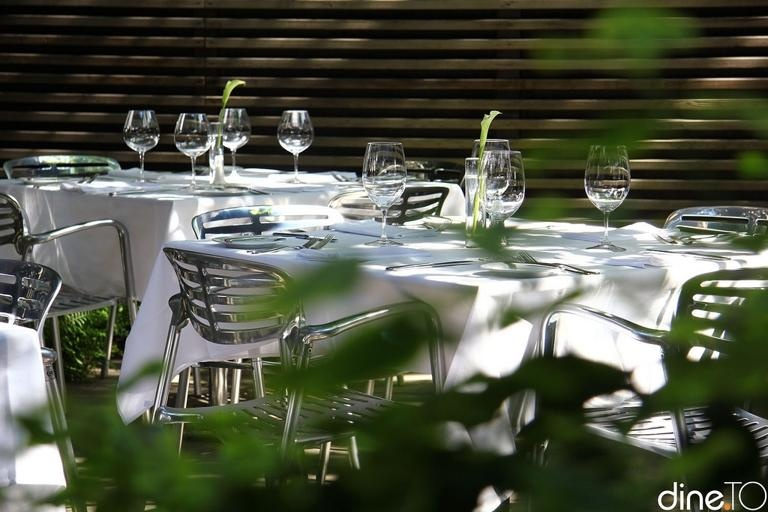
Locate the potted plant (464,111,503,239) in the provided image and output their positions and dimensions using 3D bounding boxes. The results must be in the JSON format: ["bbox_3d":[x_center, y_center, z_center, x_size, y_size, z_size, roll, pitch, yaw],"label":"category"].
[{"bbox_3d":[0.215,-0.183,1.754,0.077,0.273,0.066,2,-2,17],"label":"potted plant"}]
